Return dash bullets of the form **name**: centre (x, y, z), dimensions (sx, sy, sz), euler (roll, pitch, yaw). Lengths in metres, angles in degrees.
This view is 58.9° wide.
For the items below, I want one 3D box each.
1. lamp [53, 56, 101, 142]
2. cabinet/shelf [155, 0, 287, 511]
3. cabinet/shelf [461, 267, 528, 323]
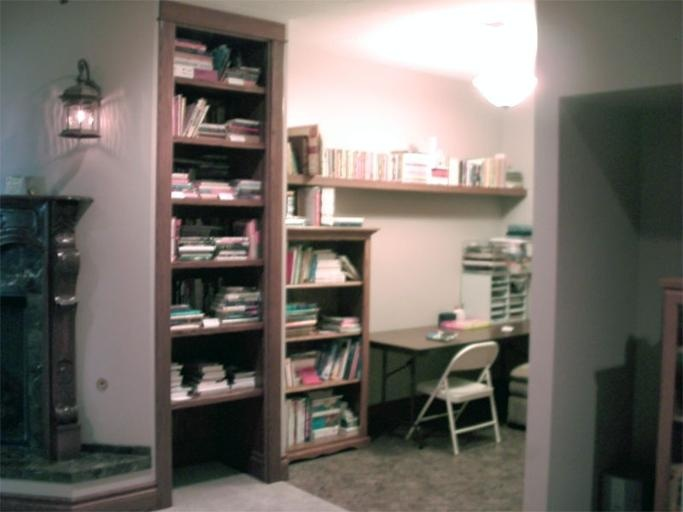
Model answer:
- **lamp**: centre (-1.152, -0.715, 2.697), dimensions (0.175, 0.317, 0.162), euler (11, 16, 43)
- **cabinet/shelf**: centre (-0.582, 0.029, 2.957), dimensions (0.623, 2.204, 0.950), euler (0, -13, -16)
- **cabinet/shelf**: centre (0.730, 0.181, 2.904), dimensions (0.344, 0.326, 0.247), euler (-1, 2, -36)
